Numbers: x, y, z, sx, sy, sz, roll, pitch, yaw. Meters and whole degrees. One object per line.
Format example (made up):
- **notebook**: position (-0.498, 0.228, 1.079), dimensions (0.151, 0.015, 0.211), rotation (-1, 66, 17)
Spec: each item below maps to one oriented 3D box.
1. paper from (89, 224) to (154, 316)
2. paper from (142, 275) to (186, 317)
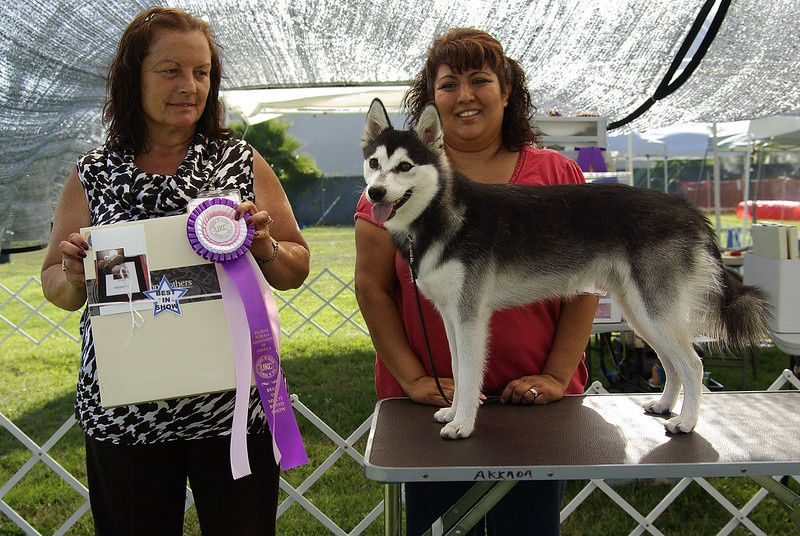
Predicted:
- **paper**: position (-1.662, 0.028, 3.920), dimensions (0.458, 0.630, 0.048), rotation (-7, -2, -3)
- **paper**: position (-1.419, 0.175, 3.945), dimensions (0.221, 0.220, 0.022), rotation (-6, -2, -15)
